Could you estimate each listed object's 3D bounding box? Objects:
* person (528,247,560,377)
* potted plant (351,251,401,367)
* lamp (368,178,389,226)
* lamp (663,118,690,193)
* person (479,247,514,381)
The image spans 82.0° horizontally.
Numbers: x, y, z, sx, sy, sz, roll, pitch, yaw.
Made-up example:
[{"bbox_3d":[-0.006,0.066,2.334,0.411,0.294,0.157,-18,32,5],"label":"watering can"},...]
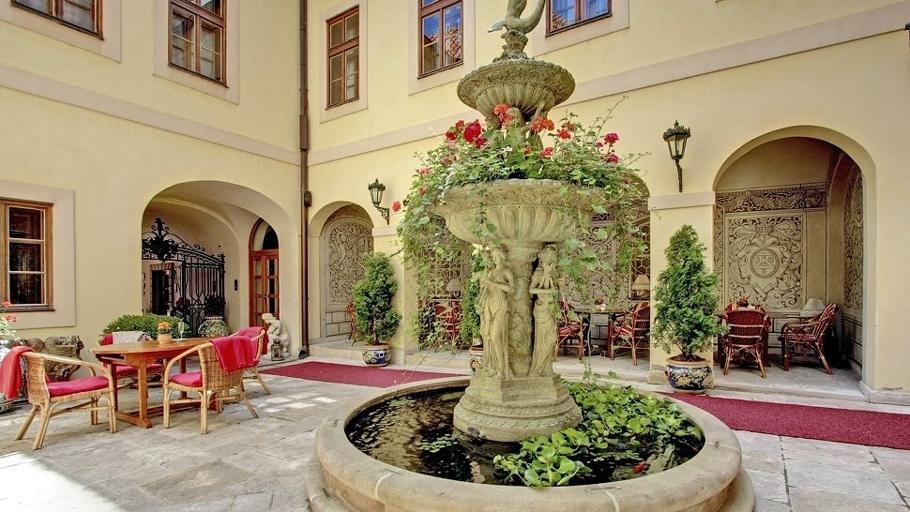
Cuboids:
[{"bbox_3d":[1.114,0.696,6.670,0.404,1.677,0.278,-1,-7,-2],"label":"person"},{"bbox_3d":[-1.650,1.103,11.028,0.961,2.374,0.366,0,-7,-11],"label":"potted plant"},{"bbox_3d":[-1.635,-1.189,11.147,0.362,0.955,0.413,-2,-7,8],"label":"lamp"},{"bbox_3d":[3.783,-1.748,8.947,0.436,1.275,0.444,-4,-7,22],"label":"lamp"},{"bbox_3d":[0.515,0.718,6.649,0.405,1.667,0.272,-2,-7,2],"label":"person"}]
